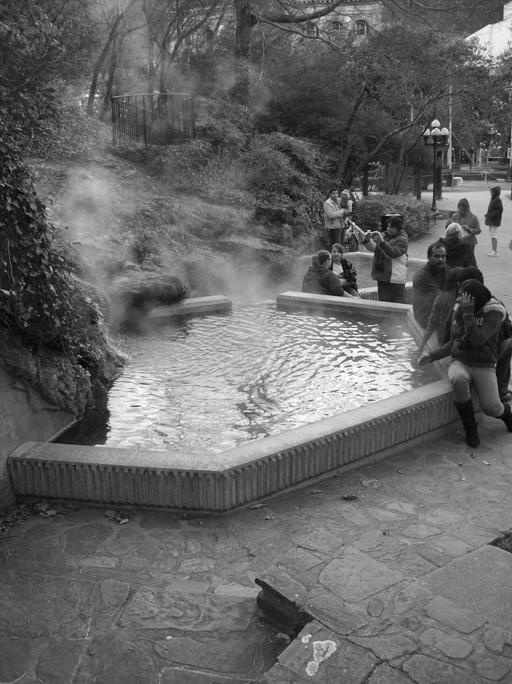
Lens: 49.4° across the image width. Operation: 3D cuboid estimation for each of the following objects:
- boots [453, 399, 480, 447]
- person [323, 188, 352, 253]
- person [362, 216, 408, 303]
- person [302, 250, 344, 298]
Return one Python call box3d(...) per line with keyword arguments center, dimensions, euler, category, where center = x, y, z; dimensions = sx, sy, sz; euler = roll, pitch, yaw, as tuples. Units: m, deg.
box3d(center=(1.941, 0.722, 5.091), dimensions=(0.178, 0.402, 0.408), euler=(-4, 0, 21), category="boots")
box3d(center=(2.288, -3.407, 15.409), dimensions=(0.754, 1.570, 1.686), euler=(-4, 0, 10), category="person")
box3d(center=(2.132, -1.284, 8.916), dimensions=(0.550, 1.335, 1.016), euler=(-4, 0, 12), category="person")
box3d(center=(1.151, -1.139, 9.576), dimensions=(0.712, 0.780, 0.493), euler=(-4, 0, 7), category="person")
